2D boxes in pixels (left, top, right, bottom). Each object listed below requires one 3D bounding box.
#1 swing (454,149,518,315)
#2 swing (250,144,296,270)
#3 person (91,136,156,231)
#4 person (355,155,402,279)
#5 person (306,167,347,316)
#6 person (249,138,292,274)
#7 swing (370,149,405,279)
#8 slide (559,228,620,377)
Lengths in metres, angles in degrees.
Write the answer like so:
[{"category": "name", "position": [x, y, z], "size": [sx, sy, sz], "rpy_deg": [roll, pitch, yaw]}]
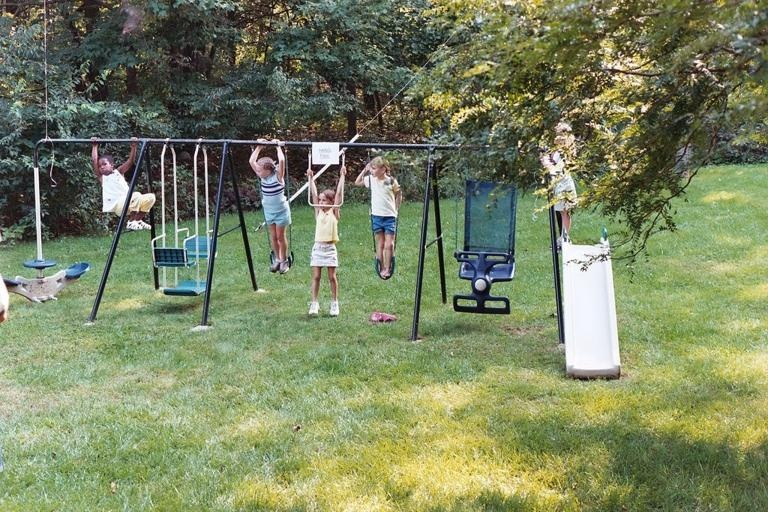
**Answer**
[{"category": "swing", "position": [1.506, -0.140, 12.273], "size": [0.903, 1.729, 0.980], "rpy_deg": [4, 15, 18]}, {"category": "swing", "position": [-1.756, -0.817, 13.328], "size": [0.703, 2.077, 0.486], "rpy_deg": [1, 10, 23]}, {"category": "person", "position": [-4.464, -1.279, 14.157], "size": [0.912, 1.676, 0.768], "rpy_deg": [-3, 4, 18]}, {"category": "person", "position": [-0.115, -0.631, 13.275], "size": [0.738, 1.952, 0.730], "rpy_deg": [2, -3, -3]}, {"category": "person", "position": [-0.899, -0.254, 12.948], "size": [0.738, 2.334, 0.766], "rpy_deg": [1, -6, -2]}, {"category": "person", "position": [-1.765, -0.826, 13.358], "size": [0.757, 2.133, 0.463], "rpy_deg": [2, 8, 29]}, {"category": "swing", "position": [-0.021, -0.638, 13.243], "size": [0.544, 1.974, 0.939], "rpy_deg": [-2, 3, -5]}, {"category": "slide", "position": [2.761, 0.585, 11.184], "size": [0.624, 0.283, 2.398], "rpy_deg": [-1, 44, 12]}]
